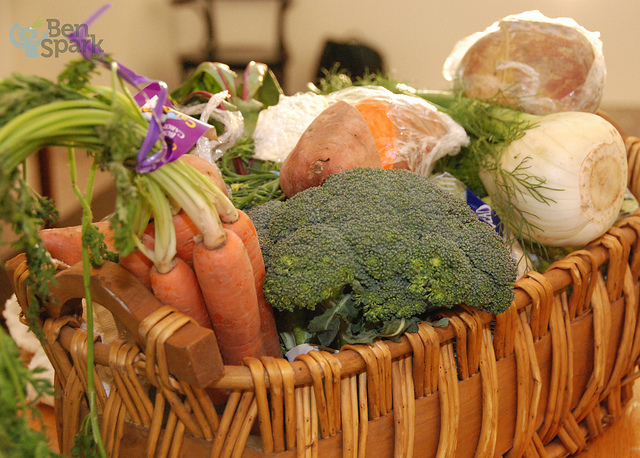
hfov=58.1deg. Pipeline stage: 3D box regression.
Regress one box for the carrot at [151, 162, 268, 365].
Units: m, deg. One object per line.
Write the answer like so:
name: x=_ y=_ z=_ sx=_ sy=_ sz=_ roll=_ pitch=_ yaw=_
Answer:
carrot: x=-0.221 y=0.080 z=1.216 sx=0.139 sy=0.511 sz=0.105 roll=-14 pitch=29 yaw=-9

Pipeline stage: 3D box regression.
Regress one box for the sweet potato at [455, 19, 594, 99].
sweet potato: x=0.628 y=-0.525 z=1.741 sx=0.228 sy=0.271 sz=0.337 roll=-22 pitch=33 yaw=-38

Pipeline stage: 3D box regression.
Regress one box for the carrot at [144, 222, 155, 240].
carrot: x=-0.366 y=0.007 z=1.232 sx=0.030 sy=0.025 sz=0.035 roll=5 pitch=-17 yaw=-20

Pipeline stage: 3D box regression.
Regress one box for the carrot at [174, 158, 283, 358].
carrot: x=-0.214 y=0.232 z=1.387 sx=0.160 sy=0.626 sz=0.118 roll=18 pitch=50 yaw=5

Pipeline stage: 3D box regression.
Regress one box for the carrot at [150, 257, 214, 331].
carrot: x=-0.284 y=0.138 z=1.202 sx=0.092 sy=0.149 sz=0.109 roll=-11 pitch=22 yaw=-29

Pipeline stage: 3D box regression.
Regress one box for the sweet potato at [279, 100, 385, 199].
sweet potato: x=0.037 y=-0.194 z=1.572 sx=0.212 sy=0.270 sz=0.218 roll=-2 pitch=16 yaw=15

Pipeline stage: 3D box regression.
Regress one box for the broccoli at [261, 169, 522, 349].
broccoli: x=0.145 y=0.031 z=1.219 sx=0.432 sy=0.290 sz=0.436 roll=-11 pitch=26 yaw=-25

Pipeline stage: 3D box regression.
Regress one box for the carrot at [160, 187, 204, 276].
carrot: x=-0.293 y=0.005 z=1.225 sx=0.050 sy=0.167 sz=0.069 roll=-21 pitch=35 yaw=-41
